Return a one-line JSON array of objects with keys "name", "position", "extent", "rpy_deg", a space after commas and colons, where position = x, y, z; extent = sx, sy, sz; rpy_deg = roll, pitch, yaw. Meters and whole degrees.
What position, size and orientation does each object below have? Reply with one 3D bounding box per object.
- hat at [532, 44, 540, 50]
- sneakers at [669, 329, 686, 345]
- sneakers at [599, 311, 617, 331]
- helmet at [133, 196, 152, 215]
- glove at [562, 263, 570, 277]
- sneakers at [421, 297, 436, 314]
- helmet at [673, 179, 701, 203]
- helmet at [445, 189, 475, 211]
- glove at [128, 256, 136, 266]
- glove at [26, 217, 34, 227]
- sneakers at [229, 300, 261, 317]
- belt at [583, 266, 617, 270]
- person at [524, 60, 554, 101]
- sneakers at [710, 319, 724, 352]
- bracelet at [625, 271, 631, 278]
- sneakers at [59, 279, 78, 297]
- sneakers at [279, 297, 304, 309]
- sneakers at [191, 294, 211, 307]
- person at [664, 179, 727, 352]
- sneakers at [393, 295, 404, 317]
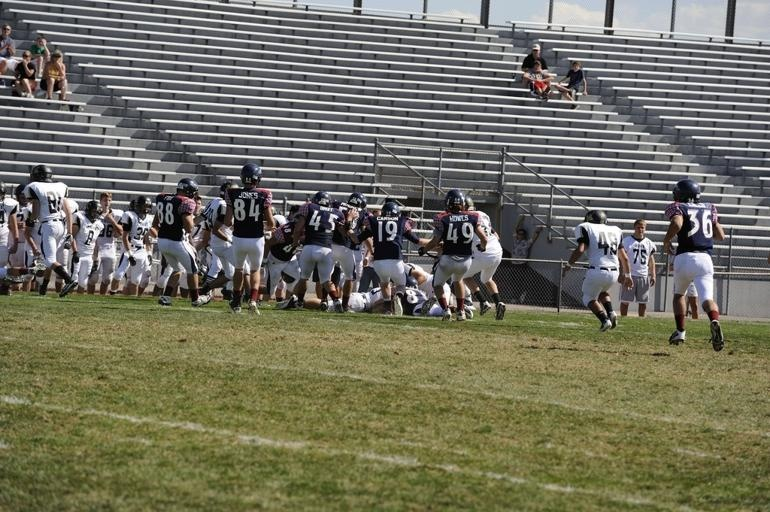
[{"name": "hat", "position": [4.305, -6.064, 34.246], "extent": [0.297, 0.142, 0.452], "rpy_deg": [2, 3, 8]}, {"name": "sneakers", "position": [5.366, 1.497, 22.025], "extent": [0.189, 0.231, 0.408], "rpy_deg": [0, 4, 2]}, {"name": "sneakers", "position": [4.257, 1.303, 23.068], "extent": [0.200, 0.243, 0.528], "rpy_deg": [-8, -18, -8]}, {"name": "helmet", "position": [-5.173, -1.105, 25.664], "extent": [0.328, 0.350, 0.430], "rpy_deg": [0, 5, -30]}, {"name": "glove", "position": [3.809, 0.274, 25.302], "extent": [0.118, 0.371, 0.153], "rpy_deg": [15, 22, 6]}, {"name": "sneakers", "position": [0.871, 1.007, 24.314], "extent": [0.165, 0.449, 0.202], "rpy_deg": [37, 8, 1]}, {"name": "helmet", "position": [5.591, -1.243, 22.123], "extent": [0.411, 0.441, 0.468], "rpy_deg": [2, 22, -8]}, {"name": "helmet", "position": [1.391, -1.134, 23.656], "extent": [0.383, 0.470, 0.509], "rpy_deg": [15, 30, 41]}, {"name": "glove", "position": [-5.426, 0.099, 25.600], "extent": [0.139, 0.186, 0.189], "rpy_deg": [0, -2, -24]}, {"name": "glove", "position": [-6.948, -0.663, 23.508], "extent": [0.159, 0.145, 0.156], "rpy_deg": [1, 2, -2]}, {"name": "sneakers", "position": [-2.667, 0.988, 22.715], "extent": [0.673, 0.276, 0.223], "rpy_deg": [2, -10, 11]}, {"name": "belt", "position": [4.203, 0.230, 23.047], "extent": [0.573, 0.052, 0.195], "rpy_deg": [3, -1, -7]}, {"name": "person", "position": [4.372, -5.017, 34.029], "extent": [0.698, 1.119, 0.462], "rpy_deg": [8, -10, -9]}, {"name": "sneakers", "position": [5.877, 1.435, 21.284], "extent": [0.252, 0.610, 0.288], "rpy_deg": [-10, 5, 12]}, {"name": "bracelet", "position": [4.942, 0.384, 24.385], "extent": [0.102, 0.093, 0.100], "rpy_deg": [2, -3, -6]}, {"name": "sneakers", "position": [-6.457, 0.639, 24.371], "extent": [0.132, 0.381, 0.164], "rpy_deg": [35, 14, -41]}, {"name": "sneakers", "position": [-1.927, 0.964, 24.423], "extent": [0.575, 0.250, 0.208], "rpy_deg": [1, 1, 2]}, {"name": "sneakers", "position": [-3.589, 0.879, 23.445], "extent": [0.391, 0.147, 0.192], "rpy_deg": [-12, -10, 25]}, {"name": "person", "position": [5.645, 0.143, 21.834], "extent": [1.104, 2.123, 1.215], "rpy_deg": [3, -1, 16]}, {"name": "sneakers", "position": [0.255, 1.022, 24.577], "extent": [0.197, 0.411, 0.202], "rpy_deg": [-12, -3, 22]}]
